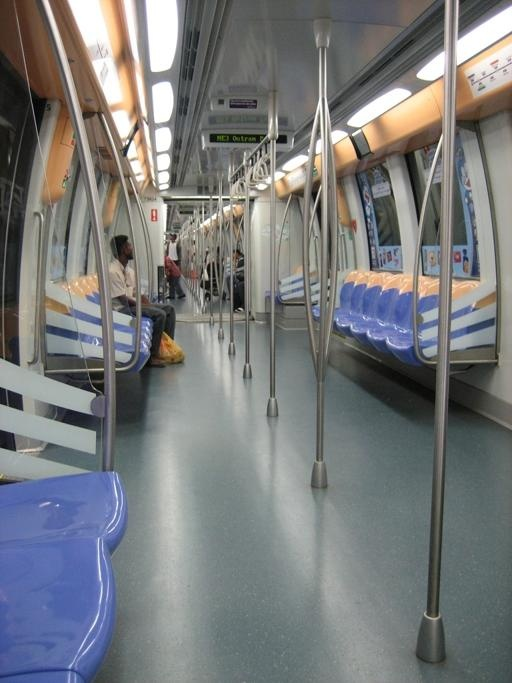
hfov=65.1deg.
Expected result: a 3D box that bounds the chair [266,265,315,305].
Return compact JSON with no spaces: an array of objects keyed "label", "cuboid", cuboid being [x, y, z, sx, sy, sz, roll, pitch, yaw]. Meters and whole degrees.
[{"label":"chair","cuboid":[0.974,-1.583,9.635,0.961,1.308,0.991,2,-5,7]}]

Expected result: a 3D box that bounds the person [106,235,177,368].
[{"label":"person","cuboid":[-1.372,-0.498,4.844,0.551,1.790,0.456,-10,0,-3]}]

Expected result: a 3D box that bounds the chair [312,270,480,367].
[{"label":"chair","cuboid":[1.637,-0.507,5.123,0.952,1.229,3.637,0,3,3]}]
